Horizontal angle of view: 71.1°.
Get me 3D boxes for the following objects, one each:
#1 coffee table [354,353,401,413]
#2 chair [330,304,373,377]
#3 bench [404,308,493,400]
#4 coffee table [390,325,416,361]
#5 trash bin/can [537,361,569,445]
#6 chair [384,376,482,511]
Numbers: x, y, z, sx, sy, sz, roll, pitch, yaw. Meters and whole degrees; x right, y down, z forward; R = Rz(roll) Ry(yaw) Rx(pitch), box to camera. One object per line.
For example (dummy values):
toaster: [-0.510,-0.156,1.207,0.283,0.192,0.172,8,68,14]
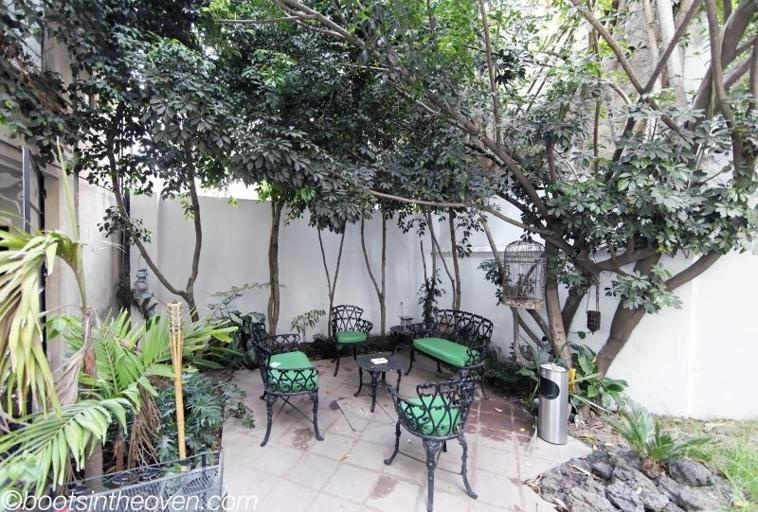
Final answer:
coffee table: [0.024,1.575,6.564,0.475,0.407,0.482,-3,2,-8]
chair: [-0.459,1.252,7.939,0.622,0.918,0.631,-4,9,-34]
bench: [0.949,1.266,7.203,0.598,1.019,1.416,-4,7,-26]
coffee table: [0.368,1.296,8.282,0.435,0.346,0.451,2,9,8]
trash bin/can: [1.949,1.651,5.914,0.327,0.847,0.255,1,3,17]
chair: [0.547,1.805,5.342,0.830,1.205,0.789,0,2,2]
